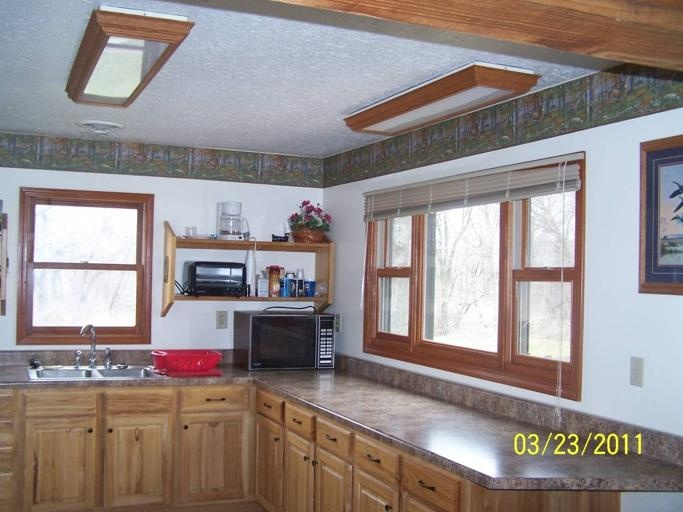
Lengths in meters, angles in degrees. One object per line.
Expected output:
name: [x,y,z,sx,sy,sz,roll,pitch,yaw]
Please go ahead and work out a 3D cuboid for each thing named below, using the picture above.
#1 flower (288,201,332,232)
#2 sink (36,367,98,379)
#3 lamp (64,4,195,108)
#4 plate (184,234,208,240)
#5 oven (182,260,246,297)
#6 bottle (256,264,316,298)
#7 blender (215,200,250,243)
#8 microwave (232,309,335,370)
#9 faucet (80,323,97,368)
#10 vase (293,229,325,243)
flower: [-0.295,-0.321,4.966,0.340,0.208,0.332,-1,-2,27]
sink: [-2.091,0.890,4.253,0.439,0.076,0.247,0,2,6]
lamp: [-1.060,-0.952,2.709,0.339,0.098,0.542,6,-19,-30]
plate: [-1.201,-0.155,4.628,0.199,0.034,0.195,-1,2,-14]
oven: [-1.103,0.196,4.694,0.518,0.293,0.319,4,-3,-41]
bottle: [-0.435,0.222,4.846,0.390,0.234,0.273,0,-2,-8]
blender: [-0.940,-0.305,4.808,0.286,0.325,0.385,-1,2,-9]
microwave: [-0.420,0.689,4.565,0.785,0.410,0.503,2,-3,-22]
faucet: [-2.015,0.699,4.455,0.118,0.351,0.360,-2,3,-24]
vase: [-0.295,-0.178,4.869,0.165,0.062,0.160,-3,-5,34]
